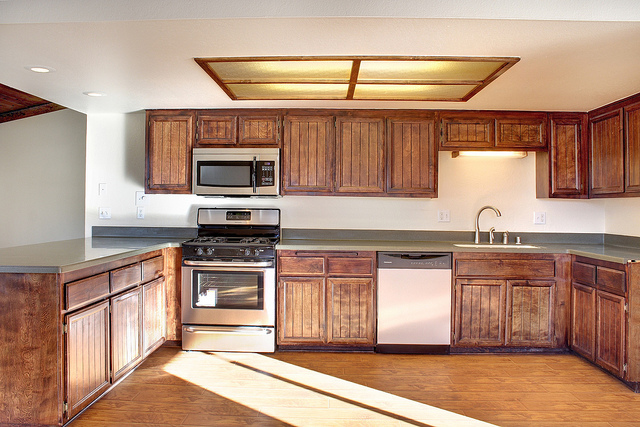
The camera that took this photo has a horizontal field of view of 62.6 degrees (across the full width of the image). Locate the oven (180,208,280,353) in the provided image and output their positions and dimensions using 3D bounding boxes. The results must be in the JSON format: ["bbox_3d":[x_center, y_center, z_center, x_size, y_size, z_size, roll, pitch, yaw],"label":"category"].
[{"bbox_3d":[-0.964,0.689,5.536,0.980,1.393,0.830,0,10,-9],"label":"oven"}]

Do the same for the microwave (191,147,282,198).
[{"bbox_3d":[-0.755,-0.441,5.797,1.116,0.524,0.649,4,5,29],"label":"microwave"}]

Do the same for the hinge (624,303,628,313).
[{"bbox_3d":[2.742,0.854,4.711,0.027,0.059,0.006,9,12,35],"label":"hinge"}]

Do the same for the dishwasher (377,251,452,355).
[{"bbox_3d":[0.959,0.925,5.687,0.864,0.961,0.791,0,0,0],"label":"dishwasher"}]

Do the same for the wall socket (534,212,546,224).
[{"bbox_3d":[2.422,0.049,5.800,0.161,0.125,0.014,1,2,3],"label":"wall socket"}]

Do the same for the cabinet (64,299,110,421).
[{"bbox_3d":[-1.919,1.189,4.350,0.337,0.717,0.479,4,7,-14],"label":"cabinet"}]

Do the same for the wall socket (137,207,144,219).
[{"bbox_3d":[-2.019,0.001,5.922,0.070,0.127,0.032,0,10,-8],"label":"wall socket"}]

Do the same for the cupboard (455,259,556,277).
[{"bbox_3d":[1.846,0.553,5.284,0.929,0.174,0.353,3,2,-5],"label":"cupboard"}]

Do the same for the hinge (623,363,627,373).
[{"bbox_3d":[2.748,1.400,4.731,0.038,0.069,0.012,7,12,29],"label":"hinge"}]

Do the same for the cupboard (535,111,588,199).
[{"bbox_3d":[2.556,-0.608,5.778,0.573,0.845,0.488,0,-1,3],"label":"cupboard"}]

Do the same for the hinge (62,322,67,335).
[{"bbox_3d":[-2.029,0.919,4.176,0.022,0.077,0.064,7,-4,-37],"label":"hinge"}]

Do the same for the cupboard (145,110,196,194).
[{"bbox_3d":[-1.602,-0.659,5.878,0.658,0.863,0.497,0,-1,1],"label":"cupboard"}]
